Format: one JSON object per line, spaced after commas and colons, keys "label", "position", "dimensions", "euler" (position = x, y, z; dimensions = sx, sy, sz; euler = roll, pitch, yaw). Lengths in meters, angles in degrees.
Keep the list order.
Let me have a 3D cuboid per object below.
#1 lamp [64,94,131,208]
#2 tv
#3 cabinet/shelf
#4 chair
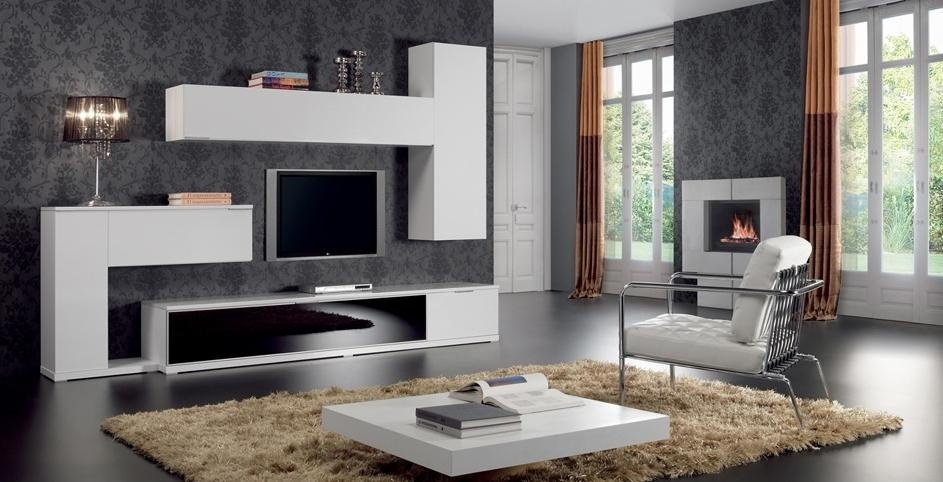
{"label": "lamp", "position": [-3.896, -0.955, 6.458], "dimensions": [0.594, 1.100, 0.473], "euler": [-5, 11, -26]}
{"label": "tv", "position": [-1.806, -0.324, 7.350], "dimensions": [1.287, 0.822, 0.155], "euler": [-1, 4, -24]}
{"label": "cabinet/shelf", "position": [-2.098, 0.430, 6.987], "dimensions": [4.966, 1.777, 0.737], "euler": [-3, 10, -19]}
{"label": "chair", "position": [2.355, 0.679, 5.780], "dimensions": [1.629, 1.279, 1.141], "euler": [-4, 0, 39]}
